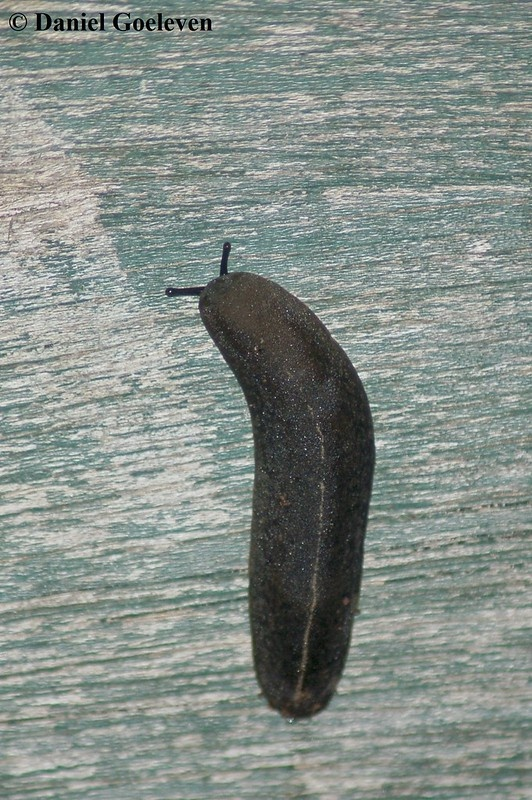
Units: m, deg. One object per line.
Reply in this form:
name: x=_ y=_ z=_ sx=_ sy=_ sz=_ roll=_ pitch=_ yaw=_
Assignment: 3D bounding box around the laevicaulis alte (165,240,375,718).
laevicaulis alte: x=0.030 y=0.057 z=0.995 sx=0.109 sy=0.060 sz=0.270 roll=1 pitch=78 yaw=-6
